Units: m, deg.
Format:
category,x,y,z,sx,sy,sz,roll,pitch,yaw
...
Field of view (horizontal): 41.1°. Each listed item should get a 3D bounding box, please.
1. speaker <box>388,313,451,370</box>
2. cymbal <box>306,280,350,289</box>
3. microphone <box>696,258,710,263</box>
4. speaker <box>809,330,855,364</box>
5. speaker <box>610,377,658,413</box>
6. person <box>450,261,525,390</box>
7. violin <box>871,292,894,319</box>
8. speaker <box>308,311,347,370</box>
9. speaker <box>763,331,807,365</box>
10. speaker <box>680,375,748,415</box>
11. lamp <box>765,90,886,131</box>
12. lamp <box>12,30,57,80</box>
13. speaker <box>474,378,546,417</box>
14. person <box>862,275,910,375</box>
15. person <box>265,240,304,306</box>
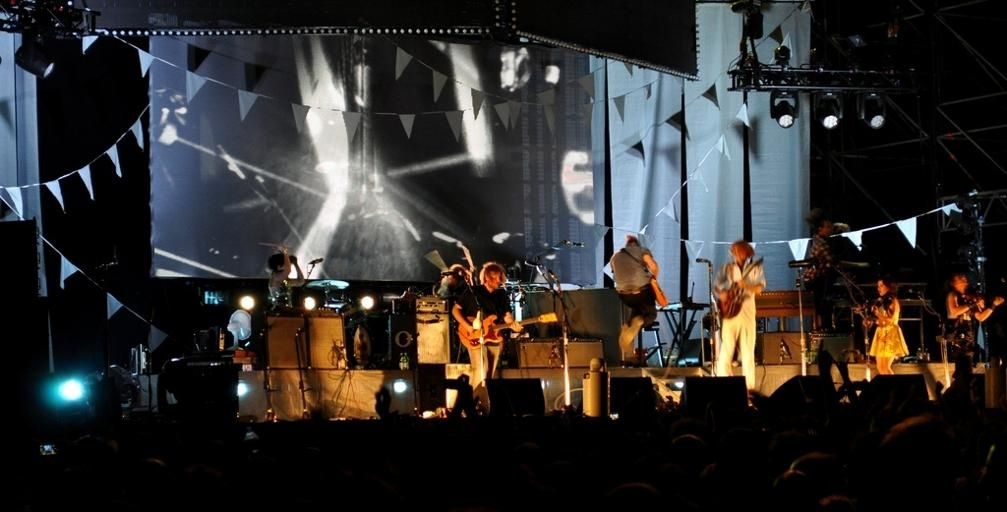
category,x,y,z,sx,sy,sz,roll,pitch,yaw
speaker,-1.535,1.419,23.206,1.302,0.975,0.446,-4,8,-43
cymbal,-3.140,0.493,24.017,0.874,0.126,0.443,5,-11,-35
microphone,3.646,0.072,24.449,0.151,0.060,0.082,-5,12,-32
speaker,5.790,1.560,23.652,1.045,0.599,0.528,0,-7,2
speaker,1.985,2.120,20.476,0.641,0.301,0.546,2,31,17
person,-0.074,1.493,23.080,1.529,2.689,0.832,-4,24,-17
violin,6.789,0.888,23.938,0.332,0.382,0.429,0,5,-6
speaker,-2.913,1.397,22.352,0.674,0.962,0.183,6,-12,-37
speaker,4.893,1.624,23.599,1.032,0.597,0.525,0,-7,7
speaker,3.076,2.161,20.528,1.191,0.636,0.611,3,-5,-26
lamp,6.412,-2.823,25.705,2.244,0.713,0.784,3,12,42
lamp,-7.923,-3.433,22.746,0.613,0.828,0.482,10,12,-2
speaker,0.338,2.147,20.848,1.092,0.657,0.797,-3,9,25
person,6.832,1.368,24.054,0.941,2.005,0.848,0,14,14
person,-3.741,0.383,23.288,0.612,1.181,1.849,0,-9,-10
